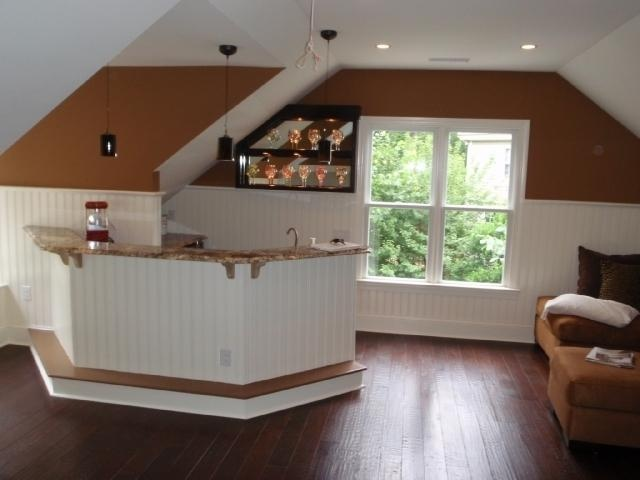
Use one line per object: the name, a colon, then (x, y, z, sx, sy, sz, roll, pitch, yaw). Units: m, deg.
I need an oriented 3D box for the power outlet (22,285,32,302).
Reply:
power outlet: (-3.101, 0.558, 5.351, 0.128, 0.166, 0.040, 6, 14, 18)

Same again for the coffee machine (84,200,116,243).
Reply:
coffee machine: (-2.275, -0.193, 5.195, 0.246, 0.415, 0.316, -4, 15, -23)

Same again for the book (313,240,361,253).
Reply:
book: (0.142, 0.047, 4.427, 0.443, 0.071, 0.290, -4, 14, -24)

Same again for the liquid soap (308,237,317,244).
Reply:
liquid soap: (-0.070, 0.027, 4.508, 0.077, 0.084, 0.079, 5, 21, 5)
